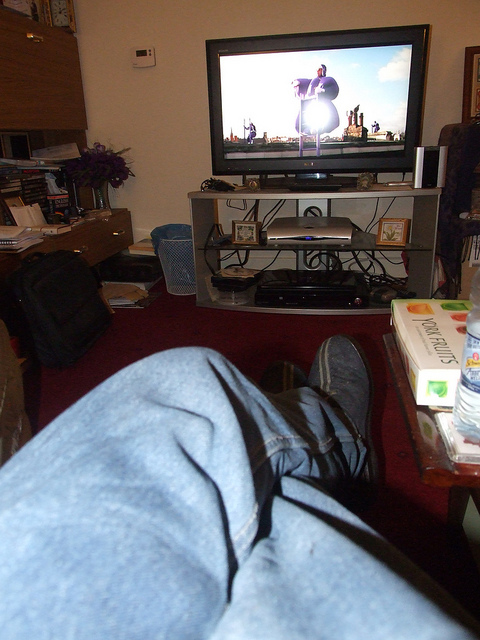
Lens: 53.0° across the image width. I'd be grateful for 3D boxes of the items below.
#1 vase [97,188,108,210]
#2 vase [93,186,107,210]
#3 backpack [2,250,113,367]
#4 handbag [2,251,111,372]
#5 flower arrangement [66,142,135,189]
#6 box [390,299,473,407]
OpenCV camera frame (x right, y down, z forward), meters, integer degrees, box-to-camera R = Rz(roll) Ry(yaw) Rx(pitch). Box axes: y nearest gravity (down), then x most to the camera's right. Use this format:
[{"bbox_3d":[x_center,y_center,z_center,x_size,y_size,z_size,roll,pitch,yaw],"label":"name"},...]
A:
[{"bbox_3d":[-0.834,-0.732,2.909,0.037,0.122,0.074,5,27,16],"label":"vase"},{"bbox_3d":[-0.842,-0.739,2.915,0.073,0.150,0.073,-11,42,-19],"label":"vase"},{"bbox_3d":[-0.732,-0.035,1.906,0.206,0.355,0.372,-17,22,19],"label":"backpack"},{"bbox_3d":[-0.731,-0.024,1.890,0.206,0.352,0.379,-13,24,13],"label":"handbag"},{"bbox_3d":[-0.819,-0.893,2.813,0.354,0.262,0.289,-11,24,-27],"label":"flower arrangement"},{"bbox_3d":[0.277,0.024,0.688,0.118,0.075,0.289,5,26,16],"label":"box"}]
